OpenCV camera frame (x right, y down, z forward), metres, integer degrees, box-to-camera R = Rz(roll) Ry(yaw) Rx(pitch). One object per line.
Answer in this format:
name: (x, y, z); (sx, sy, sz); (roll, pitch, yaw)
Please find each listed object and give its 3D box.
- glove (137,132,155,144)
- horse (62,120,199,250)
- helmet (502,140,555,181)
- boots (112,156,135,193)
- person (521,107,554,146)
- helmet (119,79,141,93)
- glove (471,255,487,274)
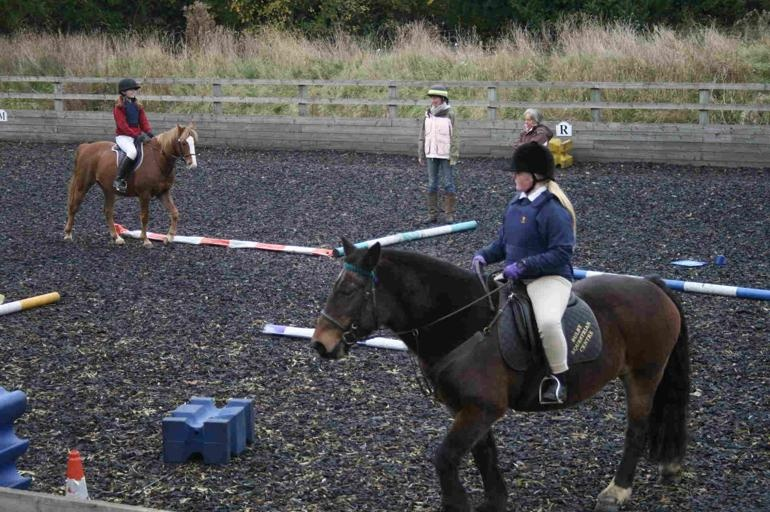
glove: (-4.486, -2.221, 21.340); (0.453, 0.169, 0.345); (-3, 9, -11)
horse: (-4.756, -1.329, 21.636); (3.004, 2.450, 0.909); (7, 6, 29)
helmet: (2.019, -1.326, 15.911); (0.618, 0.438, 0.431); (9, 6, -5)
boots: (-4.802, -1.490, 21.132); (0.403, 0.716, 0.189); (-2, 16, -1)
person: (2.928, -2.489, 22.114); (0.588, 0.740, 1.133); (0, 18, 7)
helmet: (-4.742, -3.156, 21.110); (0.396, 0.217, 0.331); (-3, 9, 12)
glove: (1.329, 0.121, 16.006); (0.164, 0.241, 0.093); (-1, -13, 36)
